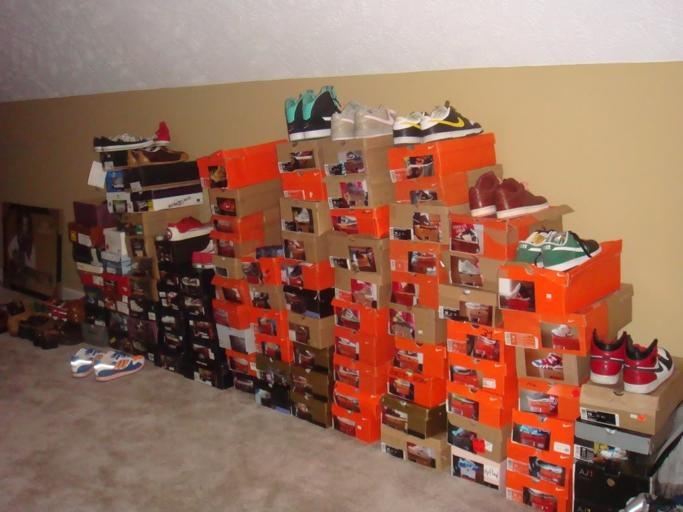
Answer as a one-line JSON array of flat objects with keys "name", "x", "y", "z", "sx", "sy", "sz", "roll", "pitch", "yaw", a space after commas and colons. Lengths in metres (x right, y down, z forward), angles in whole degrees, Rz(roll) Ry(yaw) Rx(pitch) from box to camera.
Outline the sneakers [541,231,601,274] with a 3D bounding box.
[{"name": "sneakers", "x": 1.048, "y": -0.034, "z": 2.674, "sx": 0.311, "sy": 0.136, "sz": 0.129, "roll": -20, "pitch": 22, "yaw": -34}]

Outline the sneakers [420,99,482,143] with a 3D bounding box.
[{"name": "sneakers", "x": 0.601, "y": -0.717, "z": 3.092, "sx": 0.344, "sy": 0.207, "sz": 0.171, "roll": -8, "pitch": 15, "yaw": -30}]

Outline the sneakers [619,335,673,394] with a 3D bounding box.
[{"name": "sneakers", "x": 1.390, "y": 0.476, "z": 2.639, "sx": 0.133, "sy": 0.158, "sz": 0.372, "roll": 2, "pitch": 14, "yaw": 36}]

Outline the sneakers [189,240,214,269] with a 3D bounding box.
[{"name": "sneakers", "x": -0.963, "y": 0.010, "z": 4.040, "sx": 0.102, "sy": 0.123, "sz": 0.297, "roll": 1, "pitch": 11, "yaw": -2}]

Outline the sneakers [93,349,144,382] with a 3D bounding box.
[{"name": "sneakers", "x": -1.627, "y": 0.786, "z": 4.331, "sx": 0.143, "sy": 0.180, "sz": 0.434, "roll": 11, "pitch": 14, "yaw": 41}]

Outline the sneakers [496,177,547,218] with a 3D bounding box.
[{"name": "sneakers", "x": 0.891, "y": -0.283, "z": 2.850, "sx": 0.271, "sy": 0.180, "sz": 0.166, "roll": 1, "pitch": 13, "yaw": 6}]

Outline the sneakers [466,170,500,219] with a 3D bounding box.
[{"name": "sneakers", "x": 0.709, "y": -0.302, "z": 2.887, "sx": 0.096, "sy": 0.128, "sz": 0.289, "roll": 6, "pitch": 24, "yaw": 29}]

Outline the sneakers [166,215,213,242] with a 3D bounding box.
[{"name": "sneakers", "x": -1.110, "y": -0.211, "z": 4.367, "sx": 0.157, "sy": 0.175, "sz": 0.458, "roll": 6, "pitch": 11, "yaw": 43}]

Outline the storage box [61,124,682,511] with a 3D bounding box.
[{"name": "storage box", "x": 0.211, "y": 0.379, "z": 3.195, "sx": 2.052, "sy": 1.290, "sz": 0.678, "roll": 9, "pitch": 14, "yaw": 35}]
